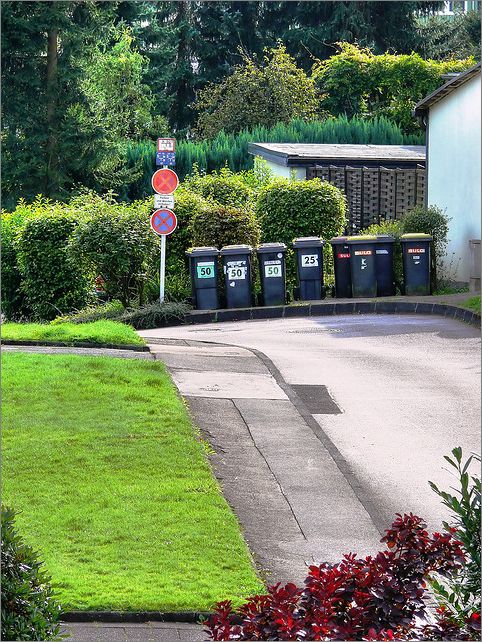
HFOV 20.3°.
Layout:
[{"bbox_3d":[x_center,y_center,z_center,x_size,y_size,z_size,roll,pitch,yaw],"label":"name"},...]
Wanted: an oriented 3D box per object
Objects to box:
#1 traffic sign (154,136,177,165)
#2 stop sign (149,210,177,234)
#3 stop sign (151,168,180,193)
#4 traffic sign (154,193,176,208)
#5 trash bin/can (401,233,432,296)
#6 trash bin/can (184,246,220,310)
[{"bbox_3d":[-1.100,-2.479,19.639,0.262,0.378,0.541,-4,5,-4],"label":"traffic sign"},{"bbox_3d":[-1.131,-1.422,19.307,0.413,0.470,0.057,4,4,8],"label":"stop sign"},{"bbox_3d":[-1.108,-2.027,19.522,0.343,0.389,0.554,-4,5,-5],"label":"stop sign"},{"bbox_3d":[-1.105,-1.721,19.313,0.308,0.246,0.182,1,8,5],"label":"traffic sign"},{"bbox_3d":[2.688,-0.855,20.420,0.441,0.959,0.530,-3,5,8],"label":"trash bin/can"},{"bbox_3d":[-0.555,-0.631,20.149,0.467,0.940,0.452,-4,5,-2],"label":"trash bin/can"}]
